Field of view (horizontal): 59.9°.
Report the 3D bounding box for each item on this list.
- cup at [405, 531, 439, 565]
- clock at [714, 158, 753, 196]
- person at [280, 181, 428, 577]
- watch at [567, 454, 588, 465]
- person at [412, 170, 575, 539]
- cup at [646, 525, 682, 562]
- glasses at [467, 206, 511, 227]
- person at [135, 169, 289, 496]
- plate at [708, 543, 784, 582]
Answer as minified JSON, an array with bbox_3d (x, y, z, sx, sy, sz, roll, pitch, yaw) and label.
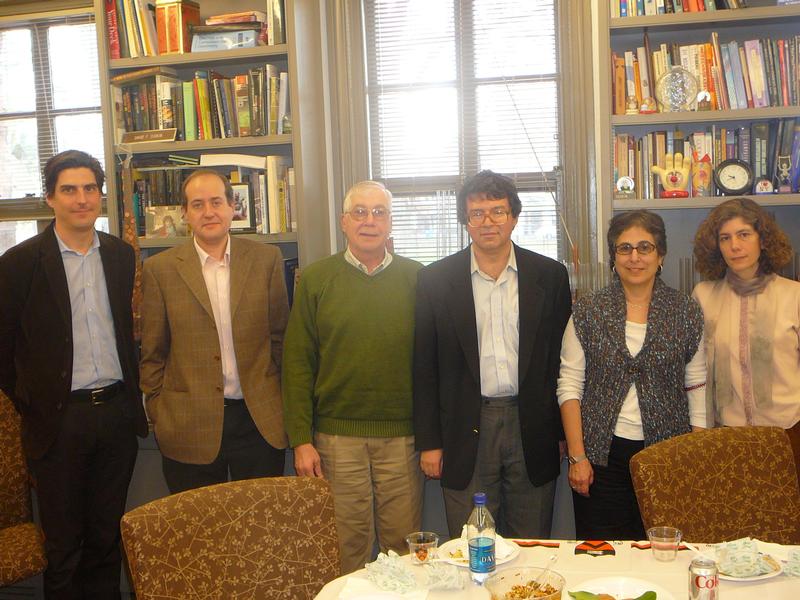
[{"bbox_3d":[0.071,0.785,2.204,0.087,0.068,0.087,-2,-3,0],"label":"cup"},{"bbox_3d":[1.712,-0.628,3.563,0.181,0.194,0.068,-1,-5,2],"label":"clock"},{"bbox_3d":[-0.130,0.539,3.159,0.698,2.129,0.362,-4,12,-12],"label":"person"},{"bbox_3d":[0.727,0.658,2.862,0.081,0.042,0.037,2,10,34],"label":"watch"},{"bbox_3d":[0.435,0.523,3.112,0.681,2.120,0.447,-2,12,5],"label":"person"},{"bbox_3d":[0.828,0.760,2.172,0.089,0.079,0.099,-1,-10,9],"label":"cup"},{"bbox_3d":[0.374,-0.354,2.914,0.168,0.072,0.050,-3,8,6],"label":"glasses"},{"bbox_3d":[-0.832,0.364,3.253,0.639,1.861,0.410,-4,21,-17],"label":"person"},{"bbox_3d":[1.052,0.792,2.110,0.149,0.047,0.153,-8,21,-10],"label":"plate"}]
